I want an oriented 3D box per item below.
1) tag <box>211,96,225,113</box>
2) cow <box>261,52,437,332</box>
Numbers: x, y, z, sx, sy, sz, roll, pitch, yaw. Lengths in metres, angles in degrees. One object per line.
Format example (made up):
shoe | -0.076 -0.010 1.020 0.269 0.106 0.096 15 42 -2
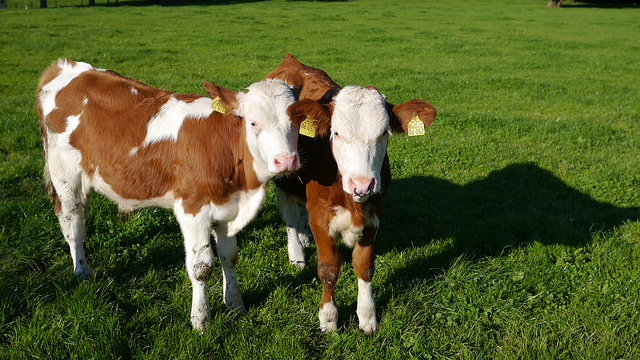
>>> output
tag | -2.587 -1.911 15.400 0.337 0.389 0.157 10 29 20
cow | 0.361 0.562 18.324 2.784 6.384 10.343 -5 9 -12
